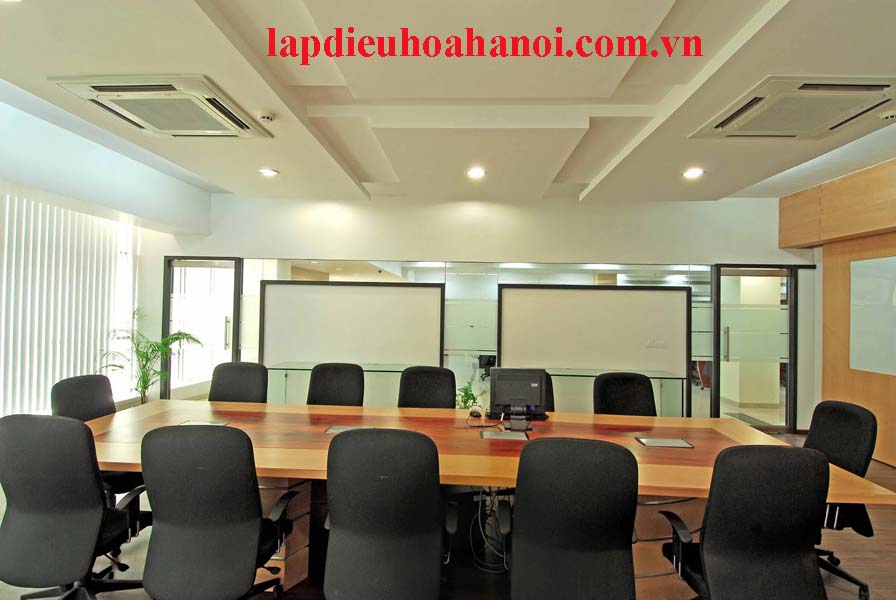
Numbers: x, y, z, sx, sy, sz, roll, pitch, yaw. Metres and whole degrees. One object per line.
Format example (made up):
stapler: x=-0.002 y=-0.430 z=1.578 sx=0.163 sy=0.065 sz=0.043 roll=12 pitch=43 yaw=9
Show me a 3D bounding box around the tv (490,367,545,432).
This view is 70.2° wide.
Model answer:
tv: x=0.656 y=0.903 z=6.052 sx=0.721 sy=0.643 sz=0.504 roll=0 pitch=4 yaw=3
